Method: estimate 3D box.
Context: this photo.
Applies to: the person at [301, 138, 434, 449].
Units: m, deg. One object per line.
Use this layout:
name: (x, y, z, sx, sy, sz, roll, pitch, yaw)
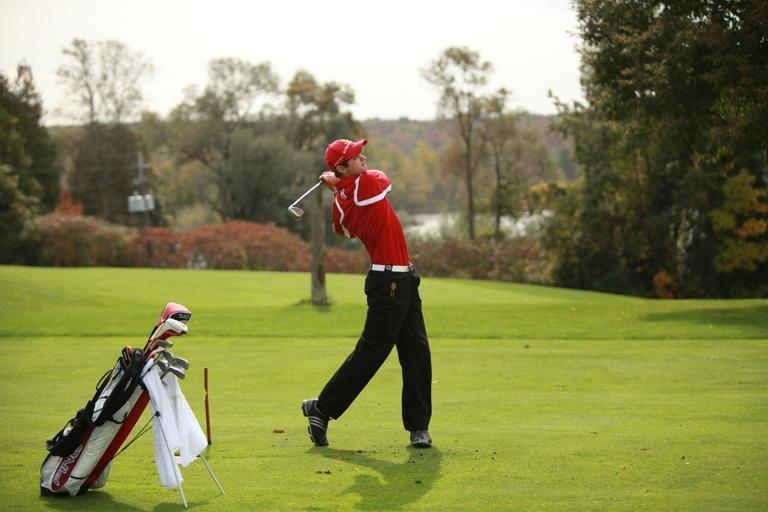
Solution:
person: (-0.098, 0.387, 15.120, 1.277, 3.183, 0.386, 1, 1, 1)
